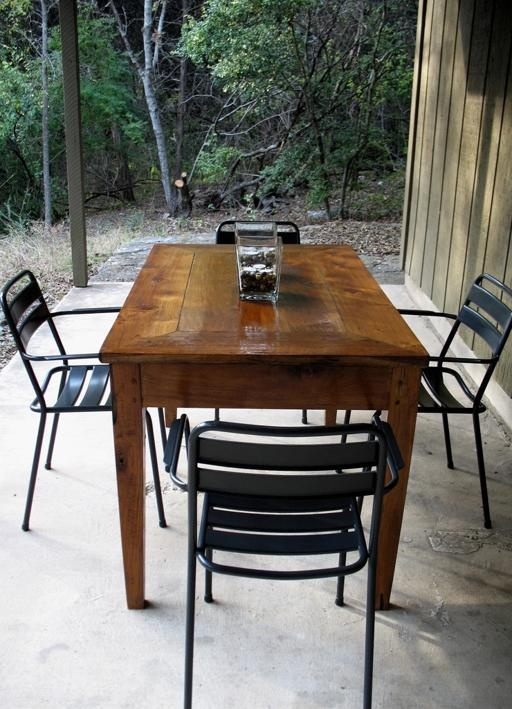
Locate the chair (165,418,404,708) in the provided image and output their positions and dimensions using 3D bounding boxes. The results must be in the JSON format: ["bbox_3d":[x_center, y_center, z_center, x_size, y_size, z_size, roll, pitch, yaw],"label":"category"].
[{"bbox_3d":[0.069,0.495,1.184,0.457,0.770,0.429,-1,41,-1],"label":"chair"}]
